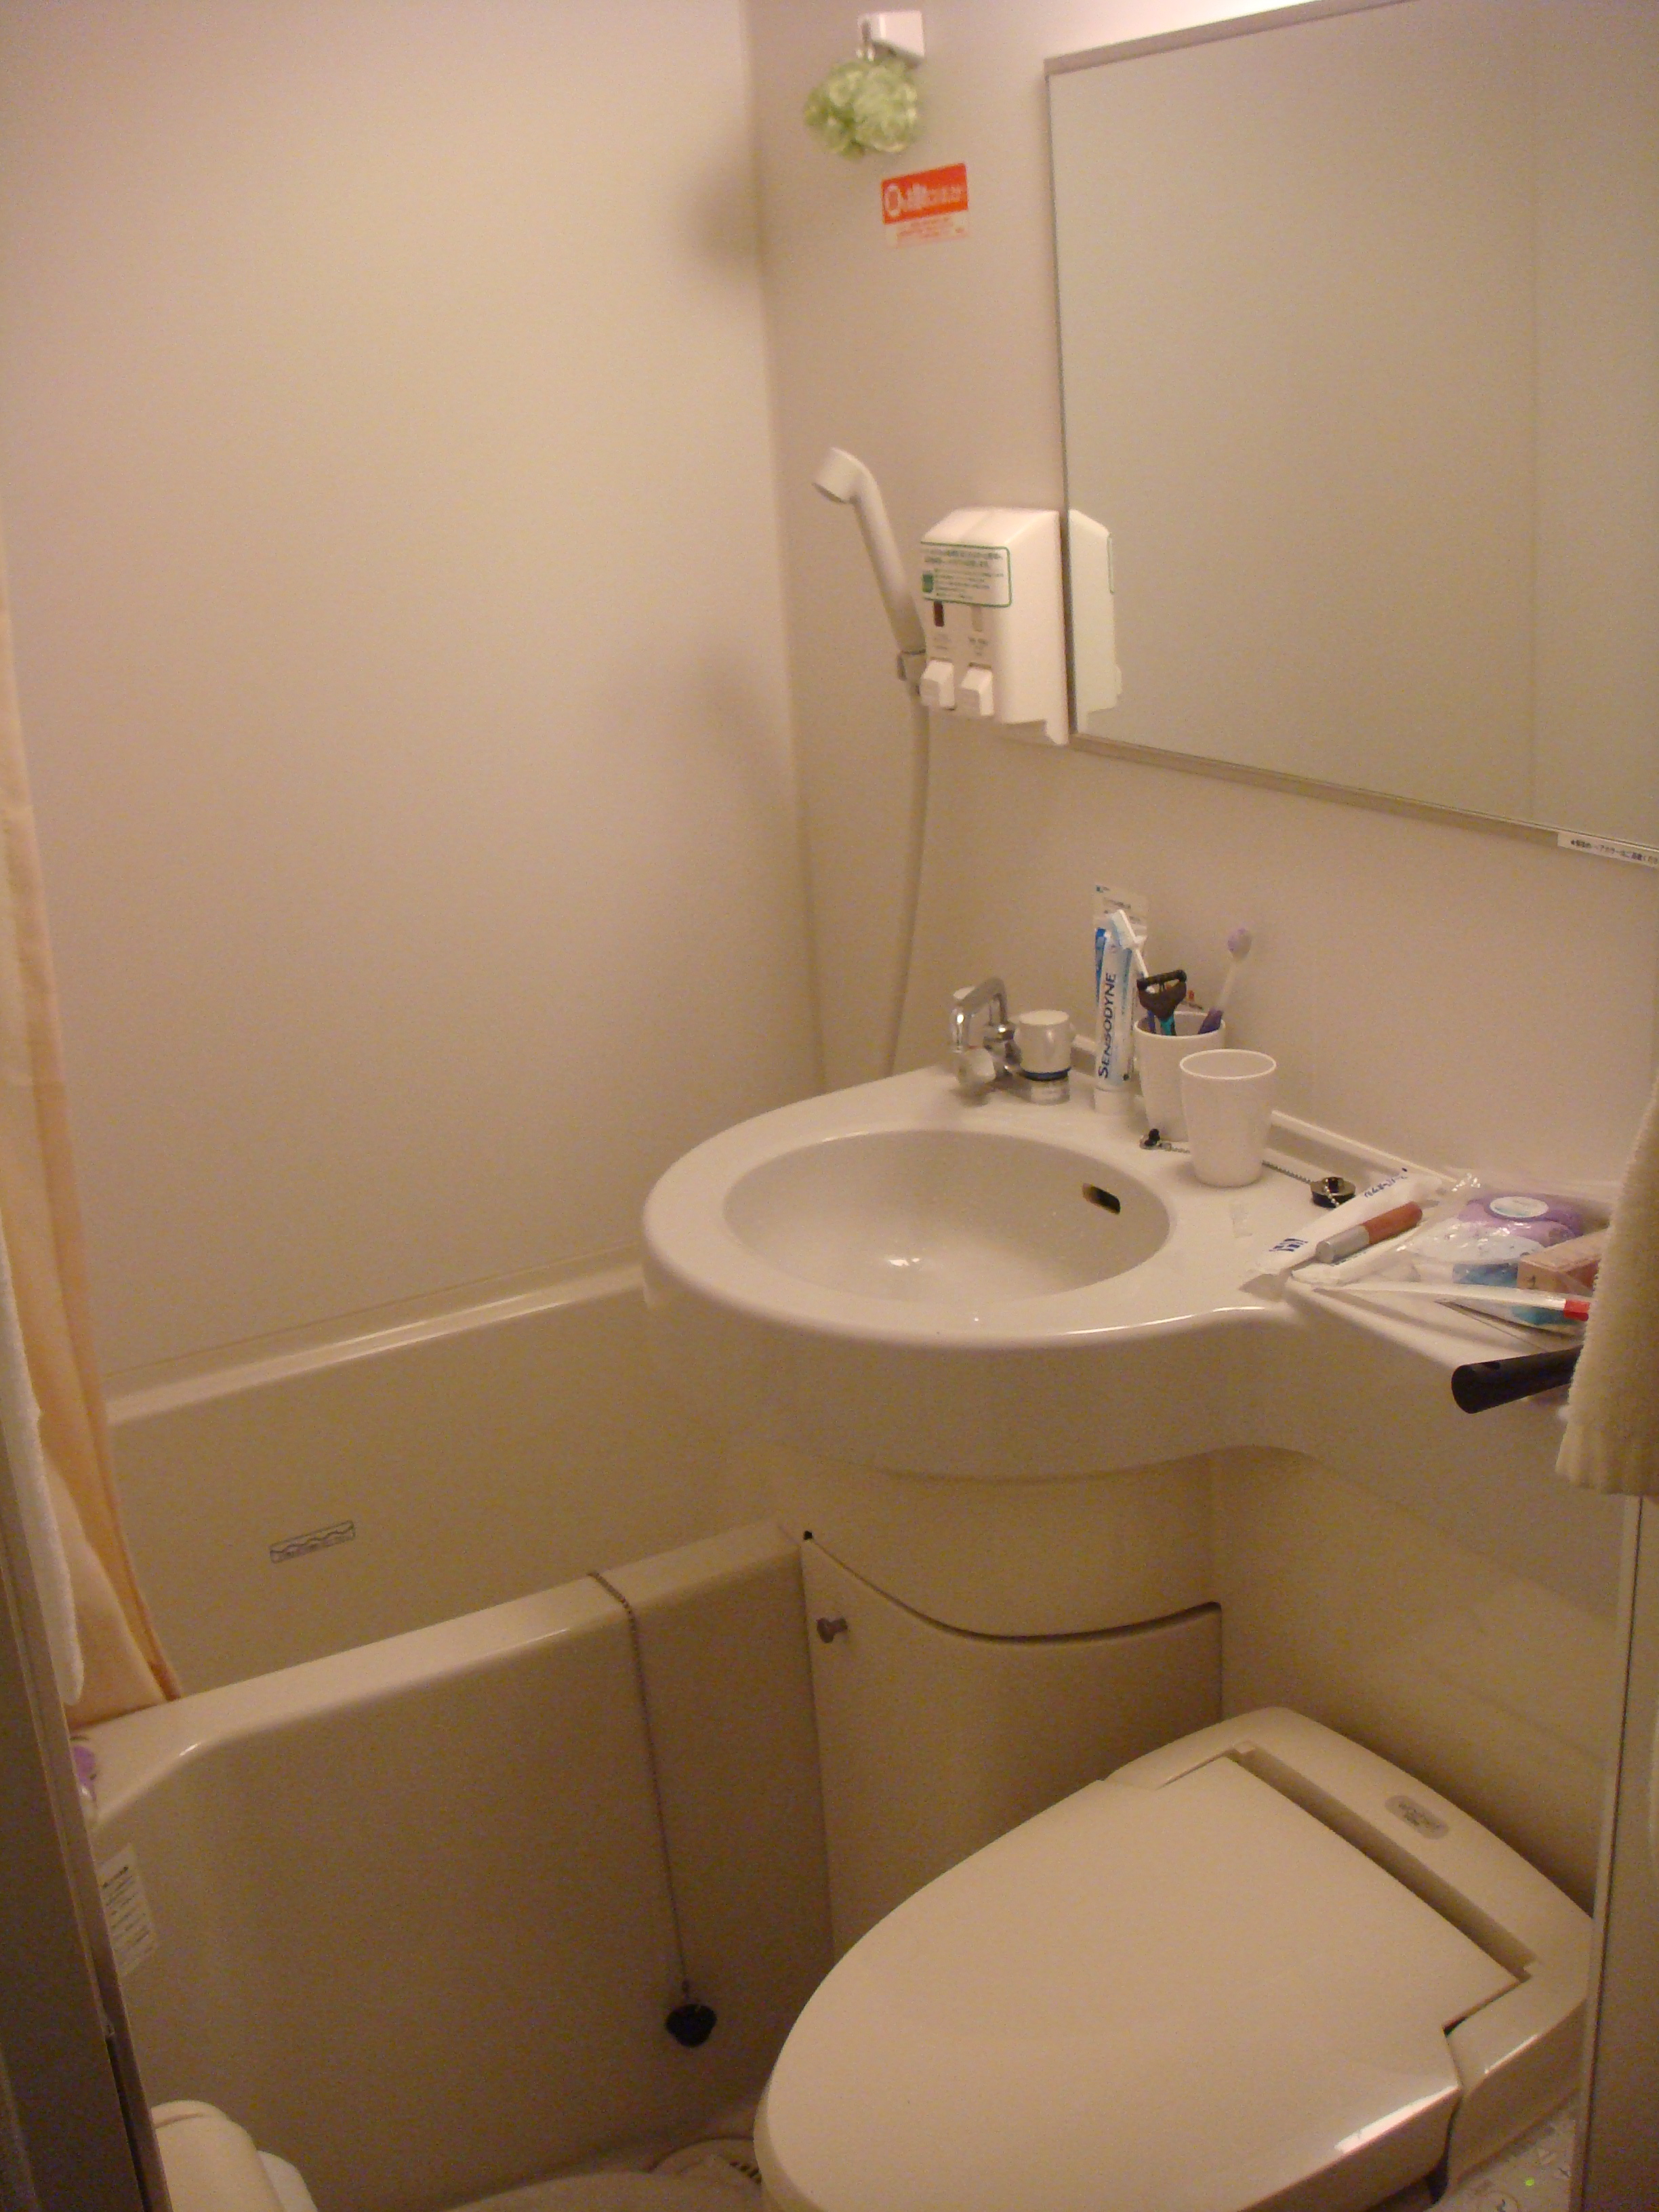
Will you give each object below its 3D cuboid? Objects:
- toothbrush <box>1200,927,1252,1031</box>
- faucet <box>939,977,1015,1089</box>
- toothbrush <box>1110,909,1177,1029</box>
[{"bbox_3d":[0.365,-0.115,1.696,0.029,0.120,0.036,10,2,-34],"label":"toothbrush"},{"bbox_3d":[0.153,-0.073,1.840,0.061,0.106,0.160,-2,16,6],"label":"faucet"},{"bbox_3d":[0.290,-0.132,1.727,0.071,0.111,0.151,-3,16,3],"label":"toothbrush"}]
